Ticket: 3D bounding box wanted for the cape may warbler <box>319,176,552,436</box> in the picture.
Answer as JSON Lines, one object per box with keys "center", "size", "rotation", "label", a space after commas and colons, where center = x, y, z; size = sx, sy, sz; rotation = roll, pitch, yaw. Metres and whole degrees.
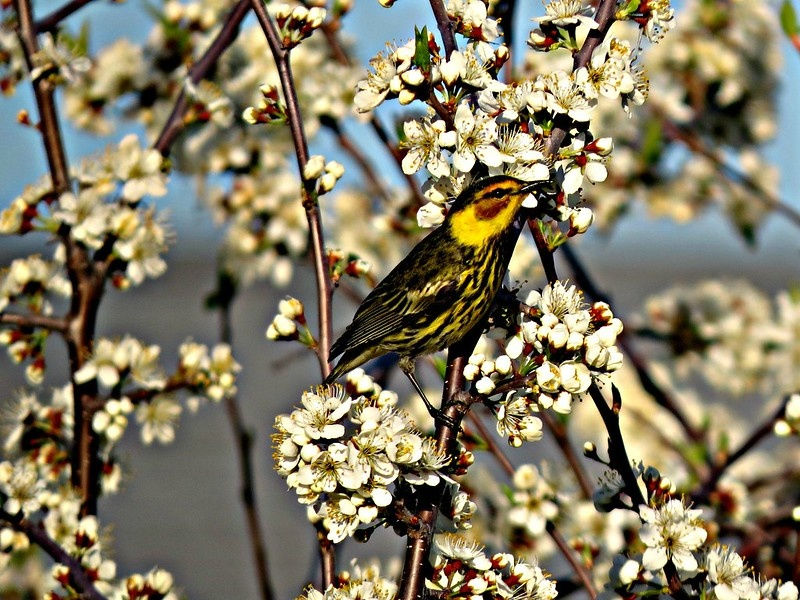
{"center": [0.233, -0.075, 9.015], "size": [1.847, 0.765, 2.095], "rotation": [1, 85, 22], "label": "cape may warbler"}
